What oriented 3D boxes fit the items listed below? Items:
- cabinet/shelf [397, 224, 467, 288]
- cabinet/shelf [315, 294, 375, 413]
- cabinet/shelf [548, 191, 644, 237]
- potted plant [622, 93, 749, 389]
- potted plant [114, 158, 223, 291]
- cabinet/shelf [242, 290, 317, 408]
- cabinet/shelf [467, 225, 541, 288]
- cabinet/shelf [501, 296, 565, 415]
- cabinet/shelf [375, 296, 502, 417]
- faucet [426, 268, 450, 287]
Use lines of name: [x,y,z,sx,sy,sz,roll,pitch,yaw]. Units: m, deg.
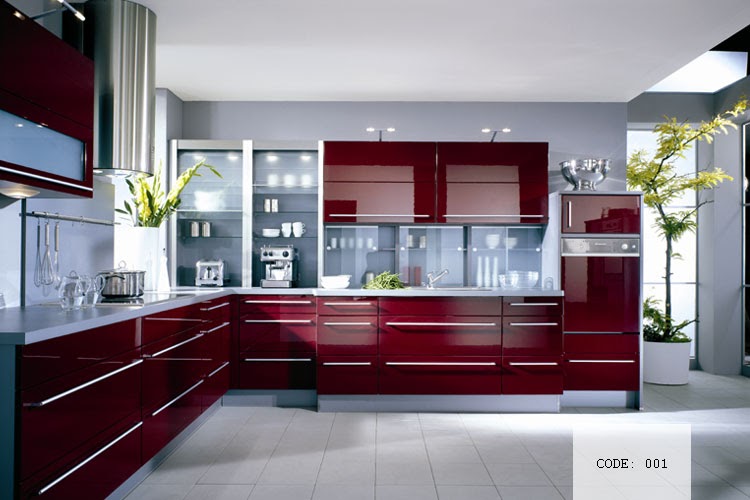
cabinet/shelf: [0.602,0.049,6.181,0.698,0.619,0.221,0,-1,-1]
cabinet/shelf: [-0.265,0.889,5.724,0.683,1.015,0.769,-1,12,-13]
cabinet/shelf: [2.188,-0.346,5.589,0.754,0.414,0.421,0,-4,2]
potted plant: [3.331,-0.110,6.405,0.955,3.030,1.403,9,13,40]
potted plant: [-2.094,-0.202,5.497,0.727,1.099,1.264,-4,11,-20]
cabinet/shelf: [-0.801,1.036,5.948,1.013,1.388,0.961,0,-10,-1]
cabinet/shelf: [1.392,0.062,6.160,0.680,0.566,0.231,0,-2,1]
cabinet/shelf: [1.478,0.889,5.407,0.563,0.883,0.272,2,10,9]
cabinet/shelf: [0.609,0.906,5.751,1.391,0.974,0.864,0,-7,1]
faucet: [0.650,0.315,6.141,0.229,0.194,0.239,4,11,19]
